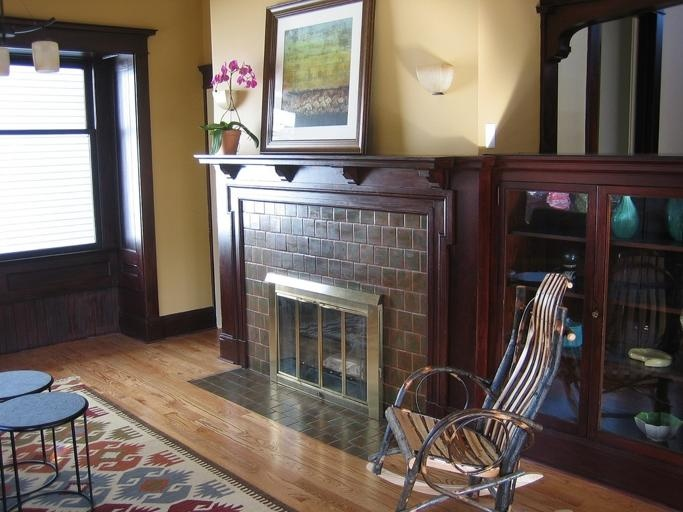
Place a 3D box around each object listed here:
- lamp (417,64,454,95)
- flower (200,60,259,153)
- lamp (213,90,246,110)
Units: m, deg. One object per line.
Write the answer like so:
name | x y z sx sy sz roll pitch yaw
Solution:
lamp | 0.560 -1.053 3.213 0.167 0.141 0.180 -4 4 -34
flower | -0.952 -1.237 4.492 0.504 0.739 0.432 7 9 21
lamp | -0.950 -1.269 4.531 0.172 0.127 0.215 1 1 40
